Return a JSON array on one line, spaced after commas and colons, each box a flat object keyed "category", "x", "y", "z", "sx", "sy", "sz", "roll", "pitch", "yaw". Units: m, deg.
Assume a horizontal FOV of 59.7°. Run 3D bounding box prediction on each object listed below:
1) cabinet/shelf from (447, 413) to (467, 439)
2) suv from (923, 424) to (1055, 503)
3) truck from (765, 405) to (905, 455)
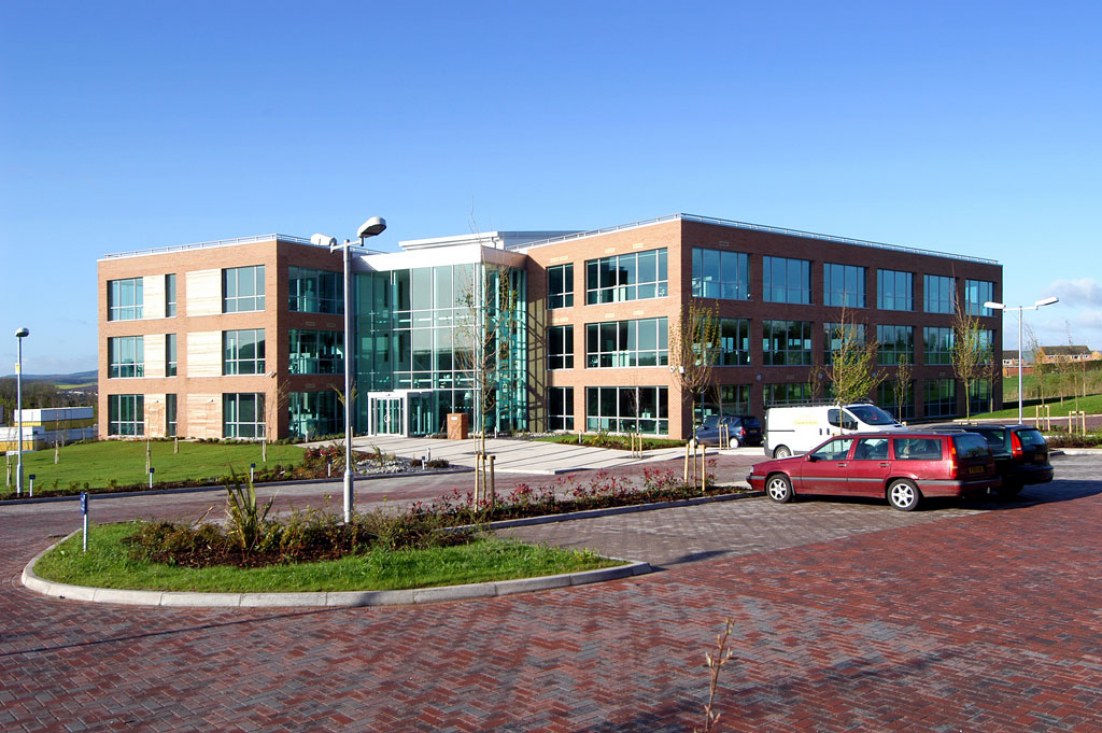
[{"category": "cabinet/shelf", "x": -4.876, "y": 3.109, "z": 50.017, "sx": 1.044, "sy": 1.221, "sz": 2.148, "roll": -2, "pitch": 9, "yaw": -6}, {"category": "suv", "x": 11.277, "y": 2.347, "z": 24.831, "sx": 1.583, "sy": 1.279, "sz": 2.811, "roll": -2, "pitch": 3, "yaw": -40}, {"category": "truck", "x": 9.502, "y": 2.086, "z": 33.588, "sx": 3.965, "sy": 1.590, "sz": 2.203, "roll": -6, "pitch": -4, "yaw": 43}]
